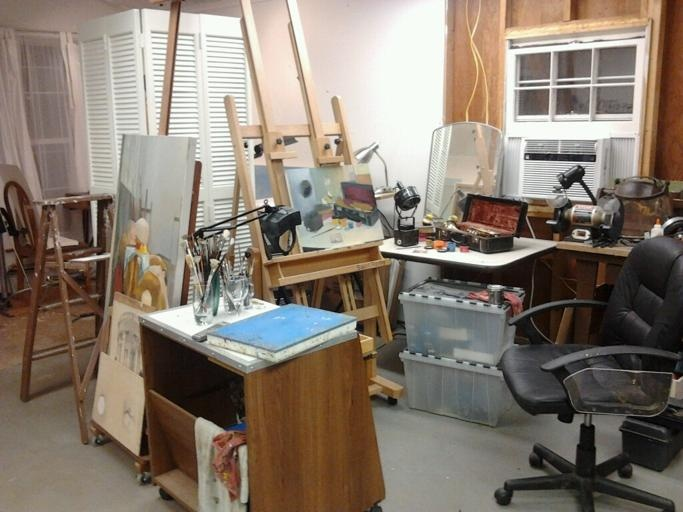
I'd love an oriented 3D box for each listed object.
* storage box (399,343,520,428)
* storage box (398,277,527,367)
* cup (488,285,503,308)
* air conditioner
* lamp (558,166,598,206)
[{"bbox_3d":[0.717,0.782,3.211,0.602,0.319,0.433,4,8,27],"label":"storage box"},{"bbox_3d":[0.779,0.372,3.289,0.669,0.419,0.457,5,10,36],"label":"storage box"},{"bbox_3d":[0.909,0.230,2.998,0.100,0.097,0.101,-1,6,0],"label":"cup"},{"bbox_3d":[1.604,-0.628,3.620,0.510,0.436,0.199,6,12,34],"label":"air conditioner"},{"bbox_3d":[1.628,-0.492,3.496,0.244,0.265,0.412,4,14,26],"label":"lamp"}]
